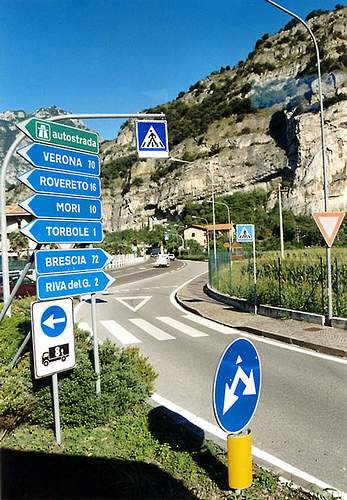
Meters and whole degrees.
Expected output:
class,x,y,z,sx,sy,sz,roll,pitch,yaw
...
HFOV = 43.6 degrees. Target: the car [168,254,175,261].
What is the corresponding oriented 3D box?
class,x,y,z,sx,sy,sz,roll,pitch,yaw
car,-0.165,1.265,78.332,1.087,0.822,2.468,0,-4,1
